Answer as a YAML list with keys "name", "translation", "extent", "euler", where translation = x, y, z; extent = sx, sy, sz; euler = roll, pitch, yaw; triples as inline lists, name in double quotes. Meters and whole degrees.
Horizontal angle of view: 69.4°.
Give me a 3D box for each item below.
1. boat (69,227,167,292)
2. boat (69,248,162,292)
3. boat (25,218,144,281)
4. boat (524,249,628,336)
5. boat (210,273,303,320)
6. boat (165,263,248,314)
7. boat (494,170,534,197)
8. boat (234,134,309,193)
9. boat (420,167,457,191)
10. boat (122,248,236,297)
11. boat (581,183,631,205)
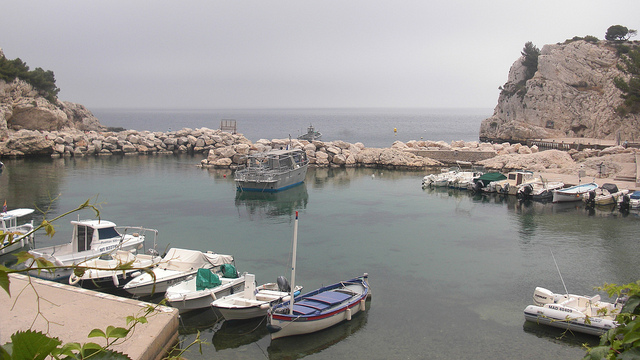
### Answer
- name: "boat"
  translation: [-17.100, 6.484, 38.319]
  extent: [9.430, 3.736, 4.399]
  euler: [0, 15, -43]
- name: "boat"
  translation: [-17.031, 7.221, 37.402]
  extent: [3.602, 2.202, 6.636]
  euler: [25, 10, 27]
- name: "boat"
  translation: [-20.422, 5.831, 41.257]
  extent: [4.267, 3.691, 10.651]
  euler: [9, 7, 25]
- name: "boat"
  translation: [19.041, 10.224, 35.420]
  extent: [5.847, 3.046, 2.088]
  euler: [0, 7, 22]
- name: "boat"
  translation: [-4.868, 9.824, 36.496]
  extent: [3.332, 1.875, 5.812]
  euler: [12, 17, 42]
- name: "boat"
  translation: [-9.232, 8.708, 37.414]
  extent: [3.544, 2.397, 6.876]
  euler: [10, 14, 37]
- name: "boat"
  translation: [28.490, 0.418, 67.548]
  extent: [3.767, 2.439, 7.260]
  euler: [15, 26, 39]
- name: "boat"
  translation: [-7.004, -1.172, 70.927]
  extent: [7.285, 6.969, 13.773]
  euler: [9, 18, 27]
- name: "boat"
  translation: [18.544, -0.079, 71.921]
  extent: [4.580, 1.582, 5.642]
  euler: [-5, 7, 15]
- name: "boat"
  translation: [-10.866, 7.678, 39.513]
  extent: [10.179, 2.999, 3.529]
  euler: [-11, 14, -44]
- name: "boat"
  translation: [37.375, 1.988, 59.846]
  extent: [5.414, 1.672, 2.444]
  euler: [5, 21, 31]
